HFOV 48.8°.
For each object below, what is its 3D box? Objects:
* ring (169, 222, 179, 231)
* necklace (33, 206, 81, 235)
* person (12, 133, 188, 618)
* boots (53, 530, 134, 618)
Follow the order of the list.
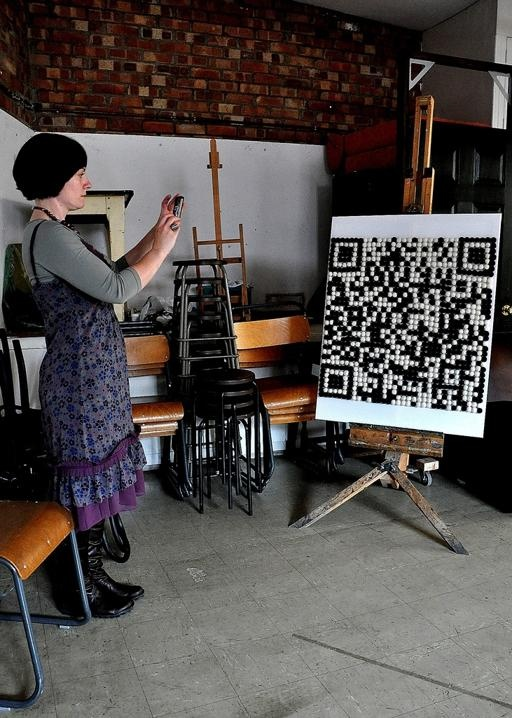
[{"bbox_3d":[-0.227,-0.367,1.557,0.019,0.025,0.007,2,8,4],"label":"ring"},{"bbox_3d":[-0.562,-0.394,1.558,0.122,0.032,0.090,35,3,4],"label":"necklace"},{"bbox_3d":[-0.437,-0.058,1.621,0.426,1.104,0.317,-3,6,-25],"label":"person"},{"bbox_3d":[-0.533,0.691,1.875,0.273,0.278,0.143,-12,15,-14],"label":"boots"}]
